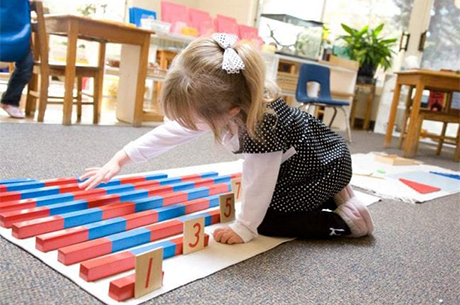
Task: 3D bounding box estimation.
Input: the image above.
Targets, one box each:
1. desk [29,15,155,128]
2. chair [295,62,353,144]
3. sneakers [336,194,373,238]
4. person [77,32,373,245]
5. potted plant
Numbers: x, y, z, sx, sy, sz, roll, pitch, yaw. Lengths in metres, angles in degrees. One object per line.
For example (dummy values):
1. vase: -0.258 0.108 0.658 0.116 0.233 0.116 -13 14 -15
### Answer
1. desk: -1.144 -0.880 3.030 0.792 0.601 0.744 3 15 -18
2. chair: 1.073 -0.600 3.508 0.706 0.834 0.686 12 12 33
3. sneakers: 0.492 0.266 1.269 0.124 0.155 0.057 -17 -20 -25
4. person: 0.006 -0.100 1.348 1.192 0.790 0.612 0 15 -25
5. potted plant: 2.247 -1.695 5.278 0.964 0.970 0.978 -13 24 -15
